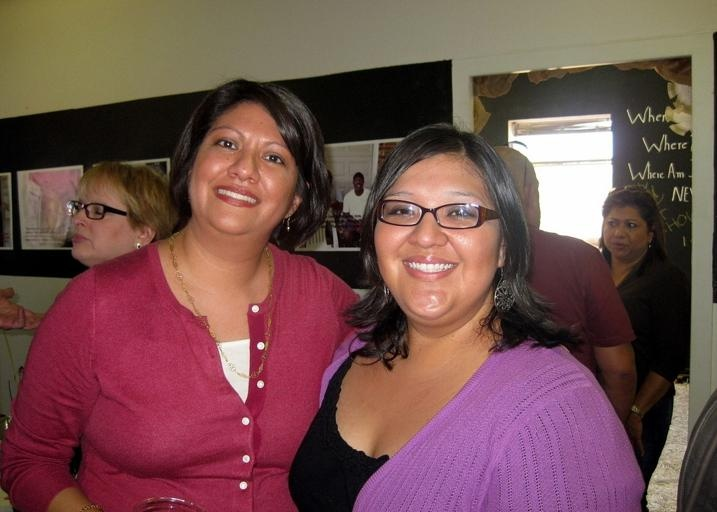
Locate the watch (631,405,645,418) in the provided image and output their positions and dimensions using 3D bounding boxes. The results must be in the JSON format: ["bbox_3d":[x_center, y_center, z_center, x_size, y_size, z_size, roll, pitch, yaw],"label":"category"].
[{"bbox_3d":[1.611,0.894,3.097,0.077,0.049,0.075,31,-5,-38],"label":"watch"}]

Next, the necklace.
[{"bbox_3d":[-0.504,0.231,2.015,0.321,0.606,0.092,-8,-10,-33],"label":"necklace"}]
